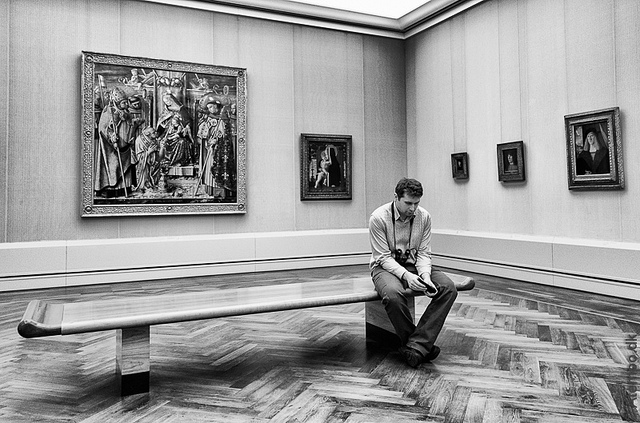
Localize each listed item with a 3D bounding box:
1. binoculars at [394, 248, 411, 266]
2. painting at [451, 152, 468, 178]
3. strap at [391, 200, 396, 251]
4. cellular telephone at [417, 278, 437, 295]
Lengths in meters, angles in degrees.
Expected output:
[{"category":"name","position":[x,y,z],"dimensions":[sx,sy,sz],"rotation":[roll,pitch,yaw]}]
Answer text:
[{"category":"binoculars","position":[1.085,0.627,6.247],"dimensions":[0.175,0.210,0.059],"rotation":[0,3,-4]},{"category":"painting","position":[3.339,-1.109,11.117],"dimensions":[0.053,0.815,0.597],"rotation":[1,-1,-29]},{"category":"strap","position":[0.971,0.204,6.142],"dimensions":[0.046,0.634,0.085],"rotation":[0,7,8]},{"category":"cellular telephone","position":[1.315,0.936,5.706],"dimensions":[0.162,0.040,0.161],"rotation":[44,-6,-13]}]
